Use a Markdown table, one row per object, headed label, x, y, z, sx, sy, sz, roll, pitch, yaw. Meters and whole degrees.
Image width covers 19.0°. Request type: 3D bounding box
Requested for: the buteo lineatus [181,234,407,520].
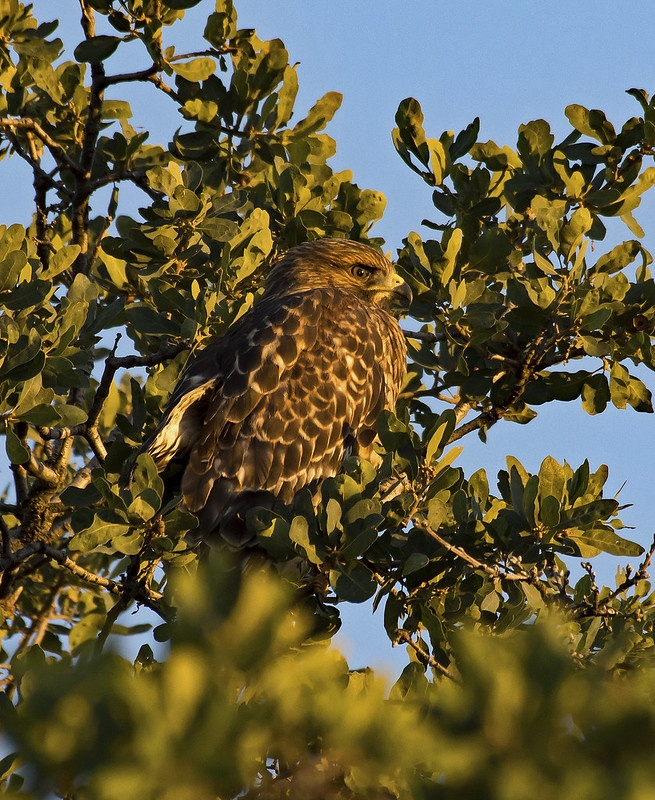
| label | x | y | z | sx | sy | sz | roll | pitch | yaw |
| --- | --- | --- | --- | --- | --- | --- | --- | --- | --- |
| buteo lineatus | -0.153 | -0.062 | 7.597 | 0.819 | 0.970 | 0.461 | 21 | -47 | -33 |
